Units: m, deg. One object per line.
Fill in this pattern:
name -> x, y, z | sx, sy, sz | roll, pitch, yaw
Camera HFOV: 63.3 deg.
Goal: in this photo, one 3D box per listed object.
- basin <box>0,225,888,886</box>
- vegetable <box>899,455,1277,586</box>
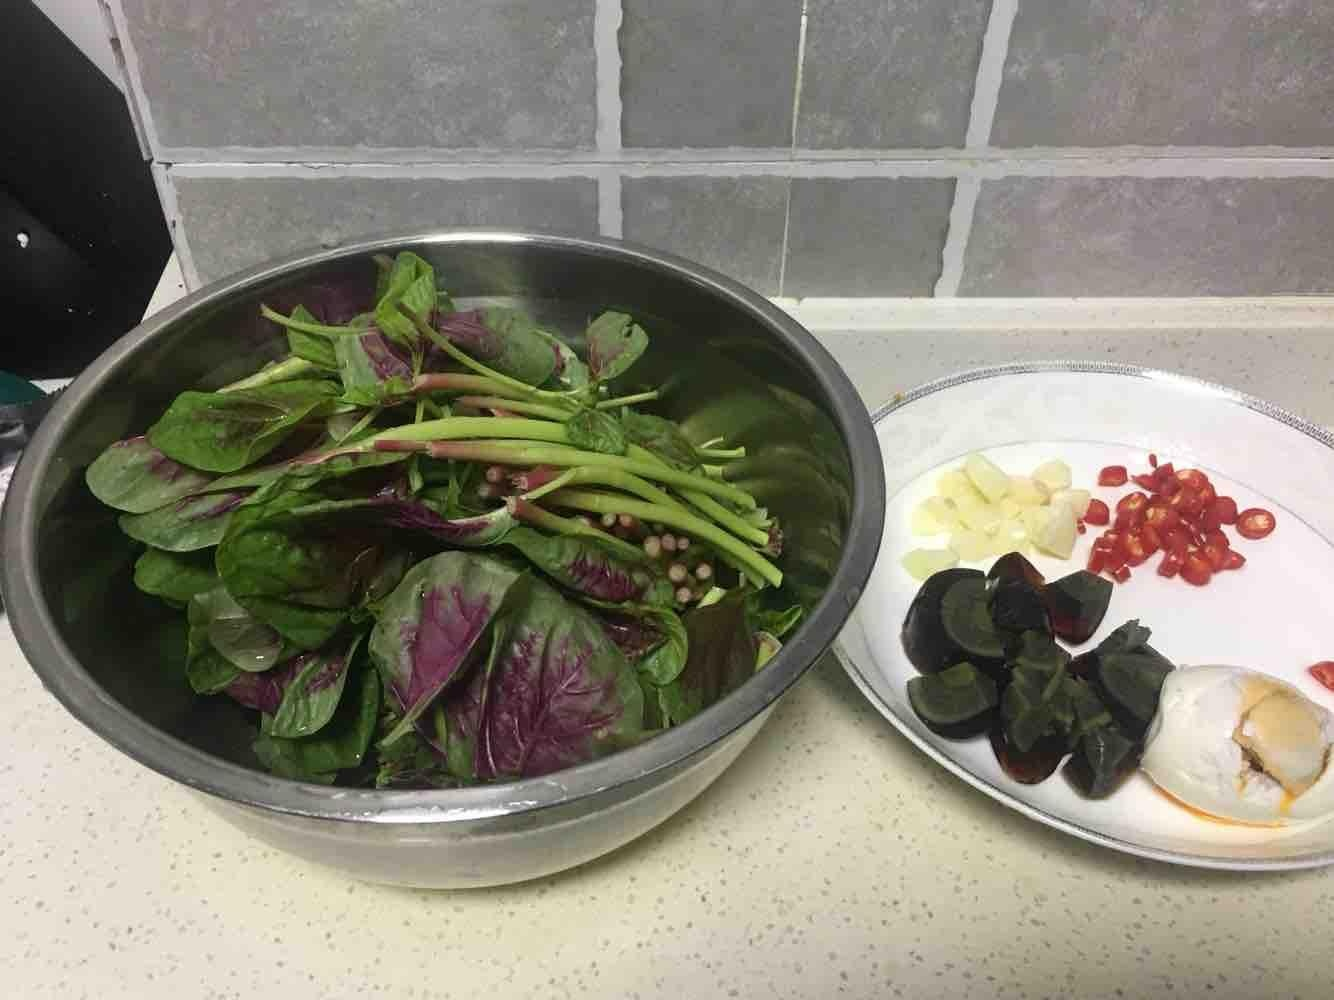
basin -> -0.138, 0.005, 0.765 | 0.558, 0.141, 0.499 | 17, 61, 13
vegetable -> 0.366, 0.018, 0.953 | 0.255, 0.045, 0.142 | -14, 51, 7
